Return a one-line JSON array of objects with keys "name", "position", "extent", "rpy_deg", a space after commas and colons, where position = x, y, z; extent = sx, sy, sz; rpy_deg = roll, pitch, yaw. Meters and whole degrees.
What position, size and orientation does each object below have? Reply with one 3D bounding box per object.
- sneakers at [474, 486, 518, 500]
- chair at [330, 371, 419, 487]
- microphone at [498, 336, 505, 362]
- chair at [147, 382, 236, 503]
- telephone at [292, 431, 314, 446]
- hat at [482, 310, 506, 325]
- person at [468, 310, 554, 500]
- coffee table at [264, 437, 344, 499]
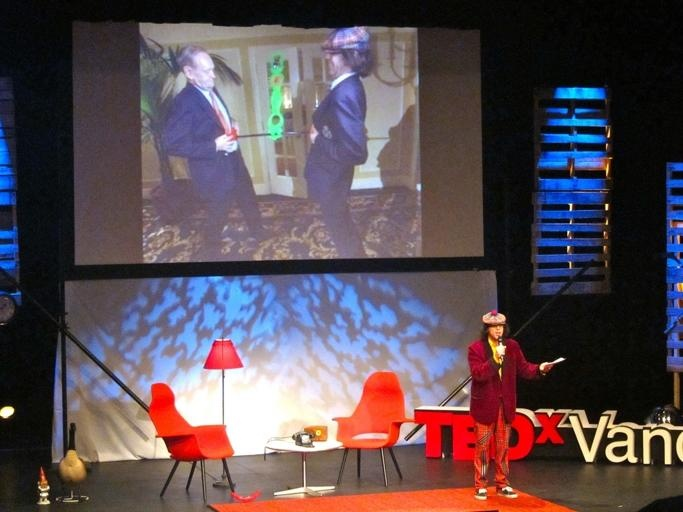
[{"name": "sneakers", "position": [1.472, 2.270, 8.093], "extent": [0.415, 0.149, 0.148], "rpy_deg": [1, 0, 1]}, {"name": "chair", "position": [0.332, 1.823, 8.891], "extent": [0.892, 1.144, 0.723], "rpy_deg": [-2, -8, 14]}, {"name": "microphone", "position": [1.529, 0.904, 8.057], "extent": [0.072, 0.221, 0.187], "rpy_deg": [0, 6, 9]}, {"name": "chair", "position": [-1.524, 1.869, 8.507], "extent": [0.811, 1.062, 0.856], "rpy_deg": [-1, -3, 37]}, {"name": "telephone", "position": [-0.385, 1.831, 8.403], "extent": [0.117, 0.102, 0.158], "rpy_deg": [3, 1, -7]}, {"name": "hat", "position": [1.481, 0.614, 8.257], "extent": [0.175, 0.127, 0.226], "rpy_deg": [0, 5, 1]}, {"name": "person", "position": [1.567, 1.436, 8.143], "extent": [0.642, 1.743, 0.470], "rpy_deg": [-2, 6, -4]}, {"name": "coffee table", "position": [-0.368, 2.137, 8.461], "extent": [0.762, 0.503, 0.790], "rpy_deg": [0, -20, -19]}]
